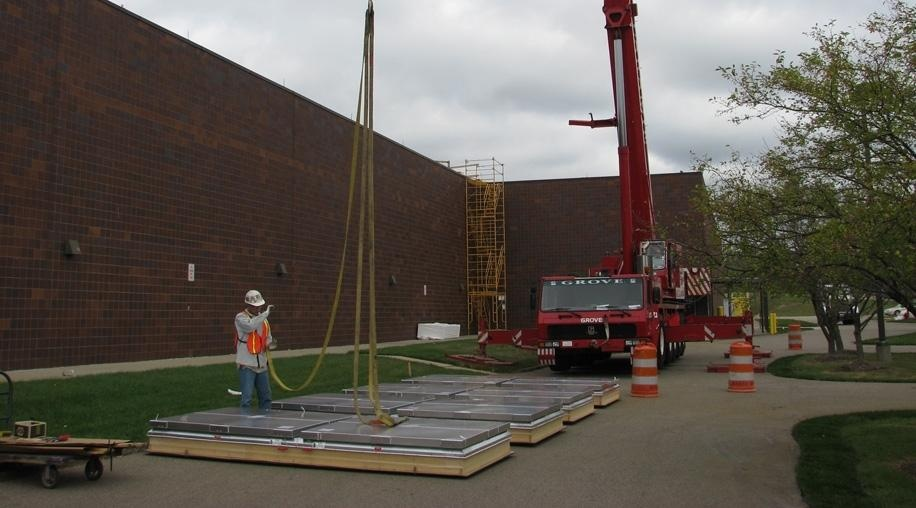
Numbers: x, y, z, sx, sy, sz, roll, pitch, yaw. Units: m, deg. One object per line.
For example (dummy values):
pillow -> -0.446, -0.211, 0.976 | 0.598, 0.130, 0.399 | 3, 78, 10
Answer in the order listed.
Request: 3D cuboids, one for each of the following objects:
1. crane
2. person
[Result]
crane -> 6.771, -2.146, 26.855 | 6.619, 14.867, 8.558 | 8, 12, 37
person -> -5.090, 2.491, 17.548 | 0.838, 3.038, 1.342 | -3, 11, -17
